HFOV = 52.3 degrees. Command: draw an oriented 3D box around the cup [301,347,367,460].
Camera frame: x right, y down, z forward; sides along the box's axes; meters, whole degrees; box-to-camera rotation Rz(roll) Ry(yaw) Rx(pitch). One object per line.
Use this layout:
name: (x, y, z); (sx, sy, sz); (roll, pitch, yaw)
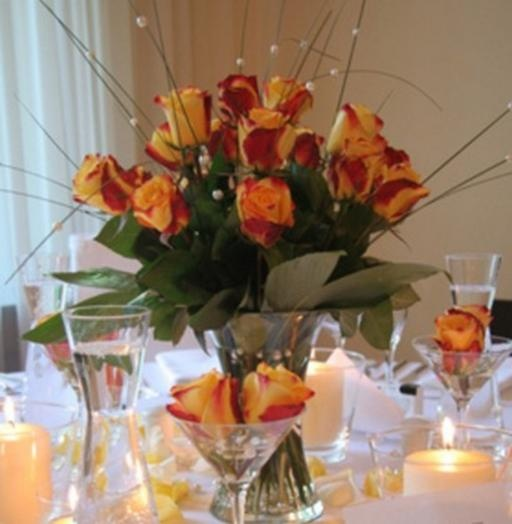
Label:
cup: (0.104, 0.193, 0.765); (0.107, 0.170, 0.119); (-1, 5, -2)

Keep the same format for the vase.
vase: (0.022, 0.156, 0.622); (0.158, 0.257, 0.167); (0, 2, -2)

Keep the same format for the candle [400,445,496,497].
candle: (0.166, 0.176, 0.440); (0.074, 0.030, 0.076); (-5, -6, 25)

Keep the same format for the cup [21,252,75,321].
cup: (-0.400, 0.042, 0.965); (0.085, 0.148, 0.084); (3, 20, -1)

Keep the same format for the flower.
flower: (0.008, -0.017, 0.707); (0.459, 0.551, 0.496); (-1, 8, -7)
